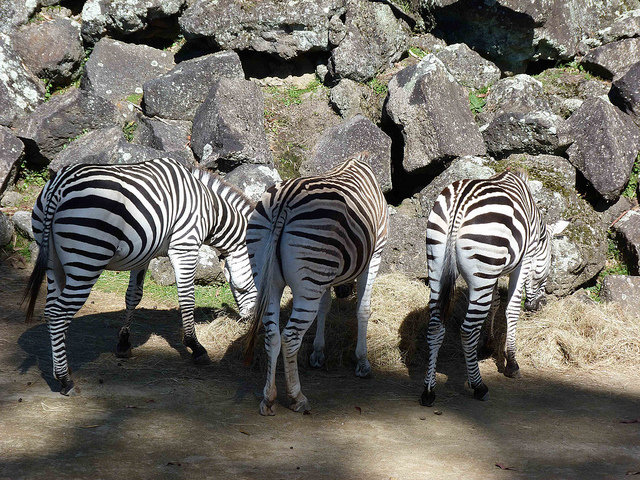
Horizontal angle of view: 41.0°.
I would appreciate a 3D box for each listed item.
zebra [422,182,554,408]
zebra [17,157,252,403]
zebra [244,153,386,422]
[{"bbox_3d":[2.164,0.382,10.461,0.950,2.722,3.327,6,9,31],"label":"zebra"},{"bbox_3d":[-2.044,0.406,9.519,2.280,2.714,0.760,8,-1,-37],"label":"zebra"},{"bbox_3d":[-0.064,0.508,9.085,1.366,2.737,0.834,7,-1,-39],"label":"zebra"}]
